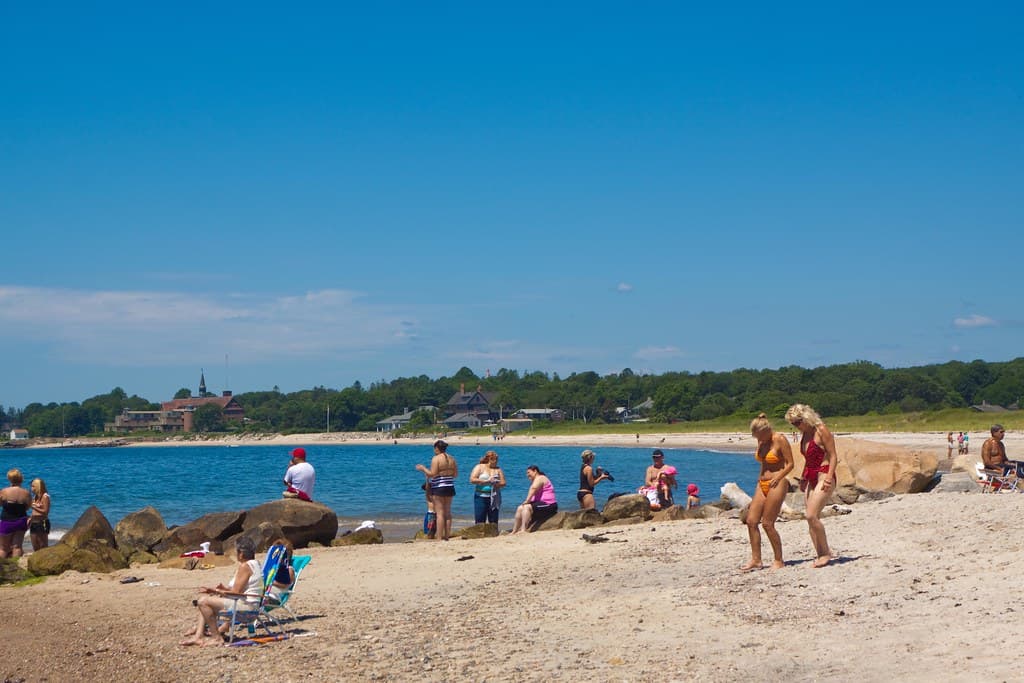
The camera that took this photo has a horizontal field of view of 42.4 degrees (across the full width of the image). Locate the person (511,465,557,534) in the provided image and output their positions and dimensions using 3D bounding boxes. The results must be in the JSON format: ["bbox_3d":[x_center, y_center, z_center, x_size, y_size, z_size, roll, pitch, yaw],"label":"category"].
[{"bbox_3d":[0.518,3.769,32.878,1.076,1.442,2.003,-3,-1,0],"label":"person"}]

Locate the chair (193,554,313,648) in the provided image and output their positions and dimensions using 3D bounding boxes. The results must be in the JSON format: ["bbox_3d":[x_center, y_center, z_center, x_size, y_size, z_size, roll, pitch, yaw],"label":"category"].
[{"bbox_3d":[-4.897,4.689,24.390,2.090,1.395,1.440,4,-13,-26],"label":"chair"}]

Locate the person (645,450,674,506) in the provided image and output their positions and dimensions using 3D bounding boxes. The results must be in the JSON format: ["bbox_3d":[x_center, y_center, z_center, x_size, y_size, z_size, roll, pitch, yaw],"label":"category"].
[{"bbox_3d":[3.706,3.464,33.496,1.041,1.379,1.302,-2,-2,12],"label":"person"}]

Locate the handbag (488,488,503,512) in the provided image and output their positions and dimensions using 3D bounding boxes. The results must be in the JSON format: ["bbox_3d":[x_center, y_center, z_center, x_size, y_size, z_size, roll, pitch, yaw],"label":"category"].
[{"bbox_3d":[-0.444,3.841,32.897,0.248,0.674,0.330,-2,-16,1],"label":"handbag"}]

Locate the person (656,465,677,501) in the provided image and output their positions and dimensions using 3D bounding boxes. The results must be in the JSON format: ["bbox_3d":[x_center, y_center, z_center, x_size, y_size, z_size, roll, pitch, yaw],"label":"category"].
[{"bbox_3d":[3.905,3.529,33.601,0.402,0.919,1.181,-3,-1,8],"label":"person"}]
